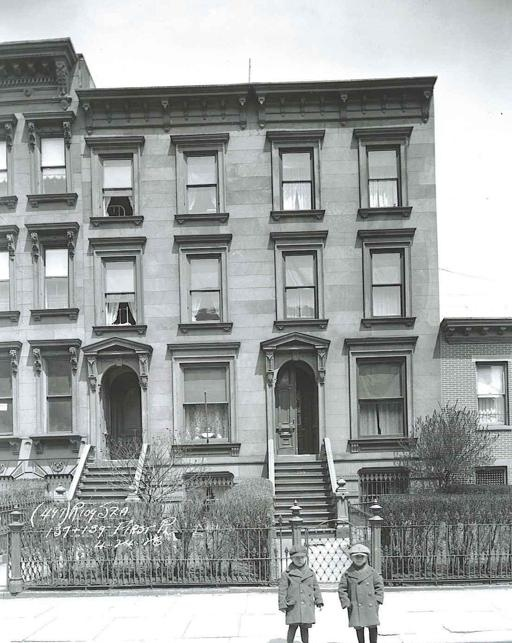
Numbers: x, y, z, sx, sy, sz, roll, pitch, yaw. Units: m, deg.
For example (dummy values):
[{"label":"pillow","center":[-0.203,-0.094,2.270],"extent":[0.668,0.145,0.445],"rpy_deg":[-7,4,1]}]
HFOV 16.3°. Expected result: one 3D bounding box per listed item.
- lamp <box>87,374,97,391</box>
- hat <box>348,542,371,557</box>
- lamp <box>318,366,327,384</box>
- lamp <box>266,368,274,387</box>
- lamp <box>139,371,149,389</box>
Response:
[{"label":"lamp","center":[-4.294,1.653,46.899],"extent":[0.281,0.594,0.331],"rpy_deg":[0,-11,-4]},{"label":"hat","center":[2.166,4.761,37.084],"extent":[0.550,0.315,0.803],"rpy_deg":[0,-12,3]},{"label":"lamp","center":[1.747,1.482,46.820],"extent":[0.253,0.460,0.292],"rpy_deg":[0,-10,3]},{"label":"lamp","center":[0.385,1.551,46.839],"extent":[0.266,0.485,0.309],"rpy_deg":[0,-12,1]},{"label":"lamp","center":[-2.940,1.615,46.901],"extent":[0.248,0.446,0.151],"rpy_deg":[0,-7,-3]}]
